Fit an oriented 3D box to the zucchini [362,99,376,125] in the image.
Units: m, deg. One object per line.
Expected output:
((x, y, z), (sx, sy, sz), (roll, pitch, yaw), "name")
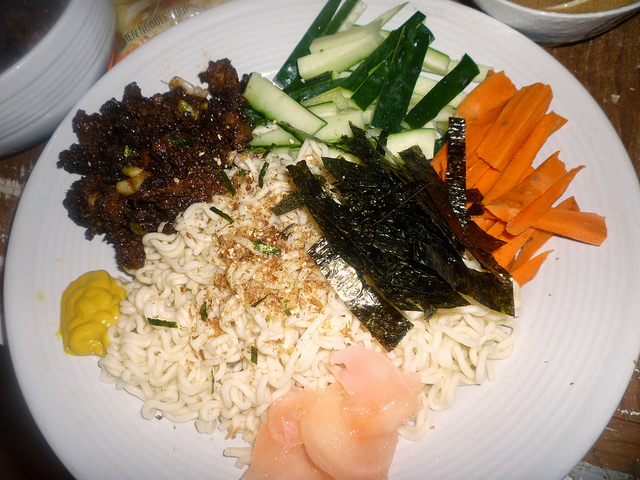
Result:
((0.396, -1.088, 5.394), (0.046, 0.184, 0.174), (16, 80, -3), "zucchini")

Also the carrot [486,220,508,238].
((1.416, -0.091, 5.049), (0.181, 0.049, 0.090), (-51, 59, 15), "carrot")

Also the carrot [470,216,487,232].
((1.293, -0.126, 5.082), (0.107, 0.027, 0.116), (-10, 100, -10), "carrot")

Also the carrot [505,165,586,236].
((1.789, -0.300, 4.994), (0.791, 0.104, 0.145), (-38, 85, -4), "carrot")

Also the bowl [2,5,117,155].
((-2.156, -1.327, 5.116), (0.351, 0.644, 1.351), (30, 85, 4), "bowl")
